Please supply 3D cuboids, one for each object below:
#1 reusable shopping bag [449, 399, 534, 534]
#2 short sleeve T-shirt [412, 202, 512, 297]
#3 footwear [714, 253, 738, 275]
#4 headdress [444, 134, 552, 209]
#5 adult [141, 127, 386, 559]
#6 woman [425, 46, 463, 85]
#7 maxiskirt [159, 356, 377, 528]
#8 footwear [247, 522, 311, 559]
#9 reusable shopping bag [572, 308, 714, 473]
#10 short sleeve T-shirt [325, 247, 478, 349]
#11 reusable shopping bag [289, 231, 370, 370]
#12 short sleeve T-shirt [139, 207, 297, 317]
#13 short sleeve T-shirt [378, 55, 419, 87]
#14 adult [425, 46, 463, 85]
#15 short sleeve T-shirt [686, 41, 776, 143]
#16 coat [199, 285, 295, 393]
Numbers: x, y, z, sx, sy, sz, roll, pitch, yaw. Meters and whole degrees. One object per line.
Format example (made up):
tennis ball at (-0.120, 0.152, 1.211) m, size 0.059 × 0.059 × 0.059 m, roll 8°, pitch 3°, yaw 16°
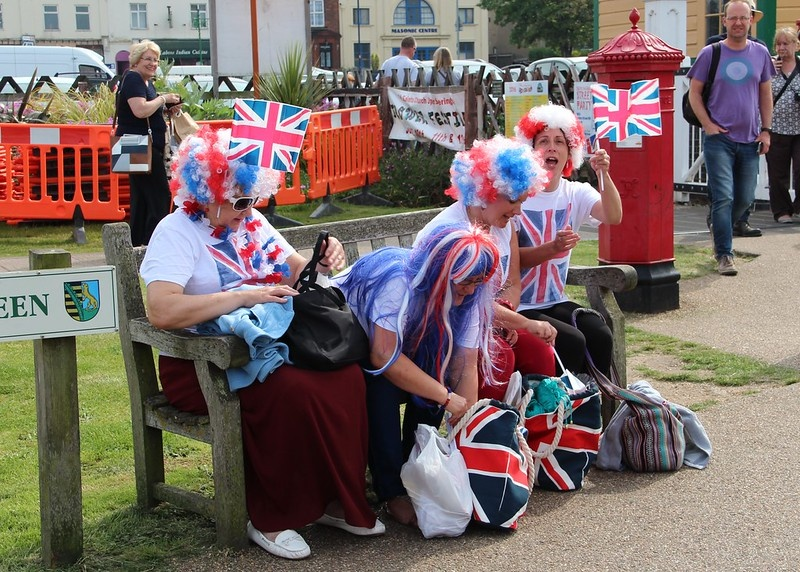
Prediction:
reusable shopping bag at (0.440, 0.883, 4.689) m, size 0.353 × 0.657 × 0.635 m, roll 5°, pitch -8°, yaw -15°
short sleeve T-shirt at (0.314, -0.170, 4.489) m, size 0.193 × 0.380 × 0.373 m, roll 24°, pitch 25°, yaw 37°
footwear at (2.999, -0.204, 8.536) m, size 0.180 × 0.175 × 0.248 m, roll 2°, pitch 10°, yaw 19°
headdress at (0.476, -0.541, 4.741) m, size 0.362 × 0.284 × 0.394 m, roll 0°, pitch -1°, yaw -45°
adult at (-0.669, 0.220, 4.505) m, size 0.978 × 2.006 × 0.938 m, roll 4°, pitch 10°, yaw 26°
woman at (0.677, -3.340, 14.130) m, size 0.493 × 0.620 × 0.945 m, roll 0°, pitch 9°, yaw 2°
maxiskirt at (-0.572, 0.673, 4.567) m, size 0.886 × 0.983 × 0.588 m, roll -2°, pitch 11°, yaw 3°
footwear at (-0.570, 1.170, 4.269) m, size 0.242 × 0.100 × 0.125 m, roll 12°, pitch 20°, yaw 27°
reusable shopping bag at (1.361, 0.586, 5.417) m, size 0.700 × 1.027 × 0.722 m, roll -6°, pitch -1°, yaw 12°
short sleeve T-shirt at (0.052, 0.003, 4.708) m, size 0.824 × 0.537 × 0.607 m, roll 1°, pitch -13°, yaw 16°
reusable shopping bag at (-0.388, 0.114, 4.340) m, size 0.395 × 0.504 × 0.389 m, roll -8°, pitch 11°, yaw -38°
short sleeve T-shirt at (-0.990, -0.097, 4.276) m, size 0.498 × 0.523 × 0.193 m, roll -5°, pitch 5°, yaw -29°
short sleeve T-shirt at (-0.002, -3.572, 15.339) m, size 0.556 × 0.576 × 1.592 m, roll -1°, pitch 9°, yaw -2°
adult at (0.676, -3.338, 14.120) m, size 0.493 × 0.621 × 0.966 m, roll 0°, pitch 9°, yaw 2°
short sleeve T-shirt at (3.162, -1.792, 8.621) m, size 0.574 × 0.925 × 0.267 m, roll -3°, pitch 9°, yaw -15°
coat at (-0.648, 0.221, 4.152) m, size 0.364 × 0.138 × 0.372 m, roll -25°, pitch 36°, yaw -33°
